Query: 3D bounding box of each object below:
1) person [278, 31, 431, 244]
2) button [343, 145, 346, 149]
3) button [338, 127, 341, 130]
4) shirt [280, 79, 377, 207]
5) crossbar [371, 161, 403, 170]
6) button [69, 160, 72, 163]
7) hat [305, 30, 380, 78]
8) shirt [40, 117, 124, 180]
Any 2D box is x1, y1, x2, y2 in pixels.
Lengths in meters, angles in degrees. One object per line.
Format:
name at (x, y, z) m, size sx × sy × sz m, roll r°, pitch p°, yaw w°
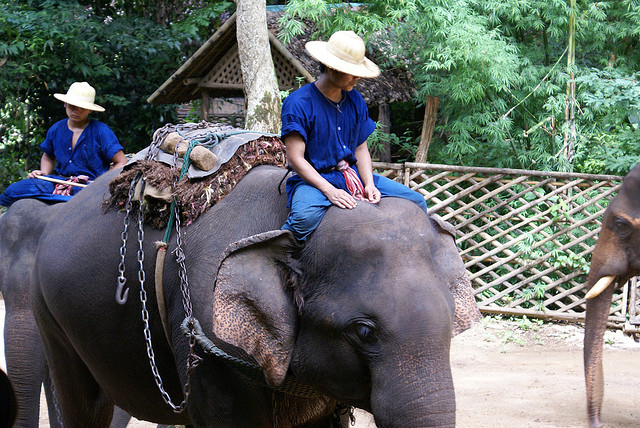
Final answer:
person at (0.199, -0.436, 4.763) m, size 1.072 × 1.405 × 0.832 m, roll -1°, pitch 18°, yaw -10°
button at (0.154, -0.437, 4.743) m, size 0.020 × 0.020 × 0.005 m, roll 1°, pitch -8°, yaw -39°
button at (0.121, -0.554, 4.736) m, size 0.021 × 0.021 × 0.005 m, roll 2°, pitch -2°, yaw -3°
shirt at (0.058, -0.464, 4.829) m, size 0.720 × 0.795 × 0.447 m, roll -7°, pitch 10°, yaw -28°
crossbar at (0.810, -0.600, 8.948) m, size 0.301 × 0.069 × 0.308 m, roll 4°, pitch -2°, yaw -18°
button at (-2.086, -0.448, 6.172) m, size 0.005 × 0.020 × 0.019 m, roll 3°, pitch 9°, yaw -38°
hat at (0.152, -1.057, 4.703) m, size 0.487 × 0.199 × 0.493 m, roll 29°, pitch 30°, yaw 27°
shirt at (-2.029, -0.564, 6.278) m, size 0.648 × 0.497 × 0.332 m, roll 5°, pitch 9°, yaw 6°
